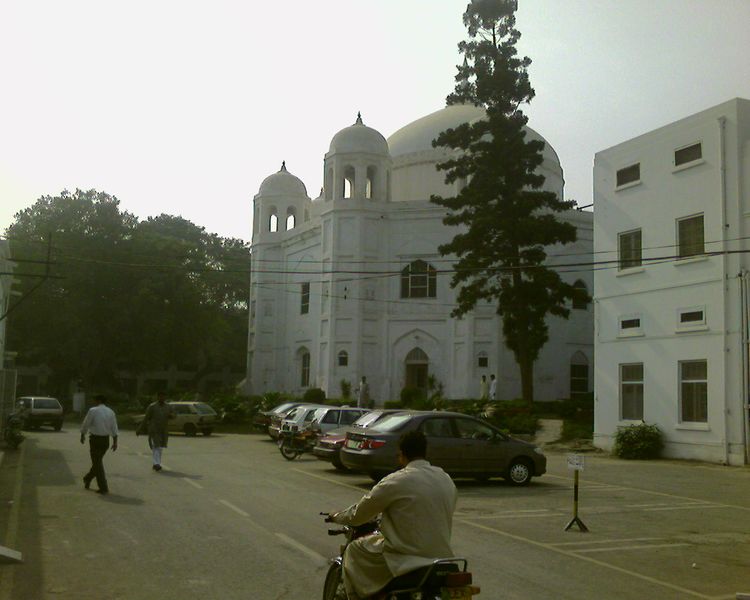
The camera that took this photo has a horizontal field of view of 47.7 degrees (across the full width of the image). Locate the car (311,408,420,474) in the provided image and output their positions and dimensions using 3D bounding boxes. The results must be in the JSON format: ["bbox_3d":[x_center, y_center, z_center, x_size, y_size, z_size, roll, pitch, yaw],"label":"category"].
[{"bbox_3d":[-0.192,3.382,21.198,2.597,0.875,1.180,-2,0,-25],"label":"car"}]

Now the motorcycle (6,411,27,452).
[{"bbox_3d":[-11.415,4.190,26.768,0.937,0.964,1.529,3,-7,-26],"label":"motorcycle"}]

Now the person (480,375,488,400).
[{"bbox_3d":[5.735,4.427,44.321,0.458,1.155,1.246,1,-10,7],"label":"person"}]

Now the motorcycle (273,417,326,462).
[{"bbox_3d":[-2.032,4.069,24.631,0.714,0.880,1.400,-2,1,35],"label":"motorcycle"}]
